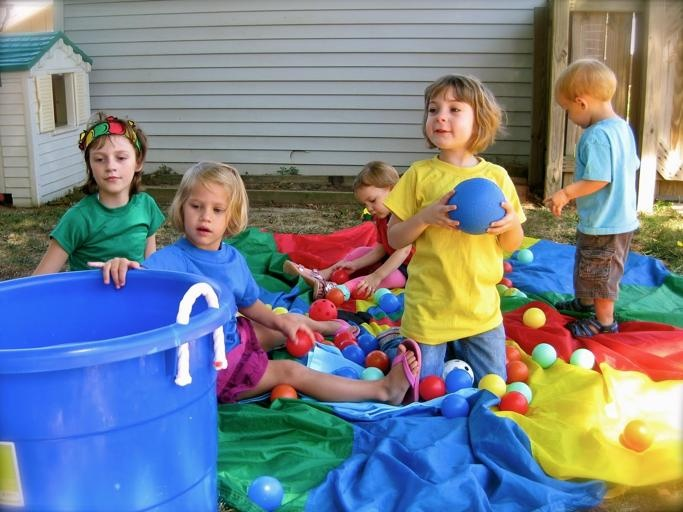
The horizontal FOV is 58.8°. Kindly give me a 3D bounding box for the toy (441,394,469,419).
[{"bbox_3d":[0.563,0.724,2.980,0.114,0.129,0.107,3,39,13],"label":"toy"}]

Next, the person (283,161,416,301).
[{"bbox_3d":[0.133,-0.191,4.560,1.067,0.971,0.483,-12,15,-31],"label":"person"}]

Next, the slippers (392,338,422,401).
[{"bbox_3d":[0.353,0.502,3.097,0.117,0.065,0.324,26,19,-14],"label":"slippers"}]

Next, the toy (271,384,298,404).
[{"bbox_3d":[-0.290,0.688,3.066,0.094,0.106,0.092,7,35,-2],"label":"toy"}]

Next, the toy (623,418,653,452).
[{"bbox_3d":[1.319,0.791,2.692,0.134,0.148,0.137,10,-22,4],"label":"toy"}]

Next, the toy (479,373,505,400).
[{"bbox_3d":[0.771,0.662,3.079,0.145,0.097,0.163,1,7,13],"label":"toy"}]

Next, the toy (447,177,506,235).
[{"bbox_3d":[0.653,-0.220,2.959,0.264,0.256,0.143,-18,-1,-7],"label":"toy"}]

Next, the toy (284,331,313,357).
[{"bbox_3d":[-0.223,0.470,3.279,0.092,0.108,0.094,38,31,14],"label":"toy"}]

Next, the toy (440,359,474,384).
[{"bbox_3d":[0.610,0.583,3.195,0.113,0.128,0.111,-13,34,-22],"label":"toy"}]
